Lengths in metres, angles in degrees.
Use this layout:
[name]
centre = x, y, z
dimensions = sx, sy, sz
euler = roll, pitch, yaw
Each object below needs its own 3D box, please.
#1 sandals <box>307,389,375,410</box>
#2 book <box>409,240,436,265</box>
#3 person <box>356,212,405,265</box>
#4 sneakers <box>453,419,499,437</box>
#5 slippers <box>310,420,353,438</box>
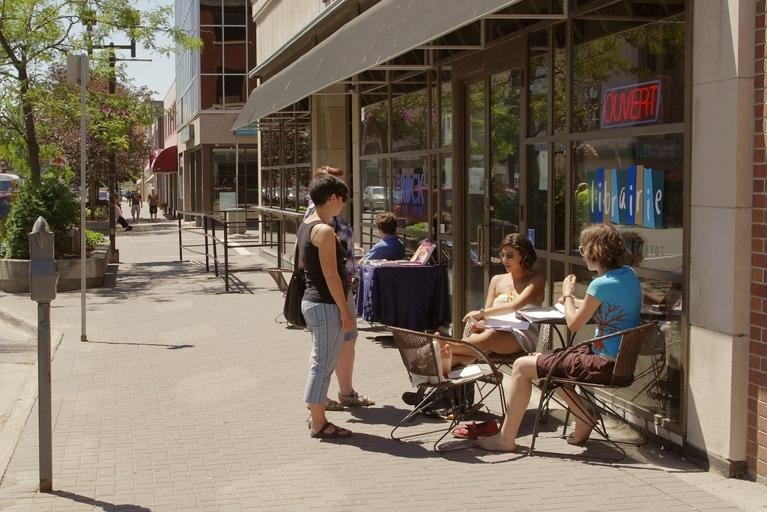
[sandals]
centre = -0.396, 1.540, 7.825
dimensions = 0.431, 0.156, 0.203
euler = -2, 1, -18
[book]
centre = 0.570, -0.072, 10.600
dimensions = 0.275, 0.376, 0.094
euler = -5, -40, 48
[person]
centre = 0.000, -0.045, 10.845
dimensions = 0.628, 1.187, 0.607
euler = 1, 7, -21
[sneakers]
centre = 0.868, 1.645, 6.943
dimensions = 0.325, 0.110, 0.178
euler = 0, 1, -4
[slippers]
centre = -0.493, 1.659, 6.952
dimensions = 0.328, 0.132, 0.162
euler = 0, 2, -10
